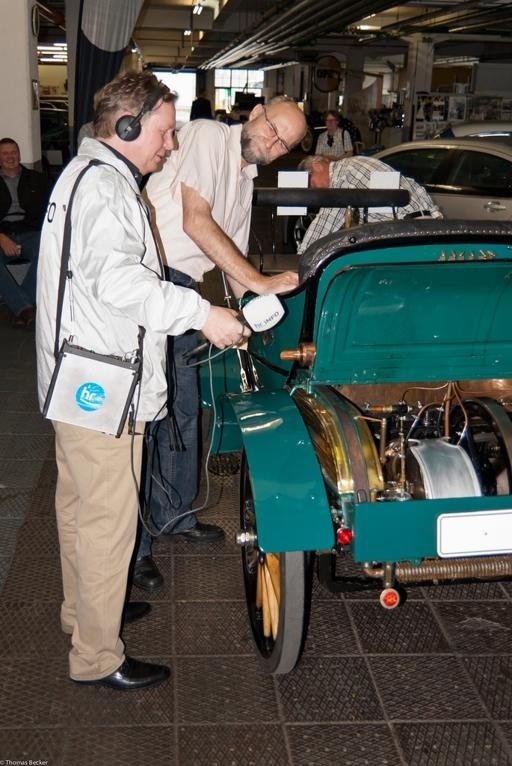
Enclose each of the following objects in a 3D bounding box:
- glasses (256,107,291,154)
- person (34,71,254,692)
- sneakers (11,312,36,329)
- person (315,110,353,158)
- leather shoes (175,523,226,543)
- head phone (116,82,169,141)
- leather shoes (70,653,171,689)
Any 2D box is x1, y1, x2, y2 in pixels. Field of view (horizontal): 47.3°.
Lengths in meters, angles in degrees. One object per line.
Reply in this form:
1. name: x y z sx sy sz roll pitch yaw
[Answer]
1. glasses: 0.041 -0.860 1.997 0.034 0.116 0.117 -35 -33 14
2. person: -0.381 0.068 1.598 0.432 1.709 0.573 -4 9 -40
3. sneakers: -2.501 -0.696 6.413 0.149 0.195 0.280 3 7 15
4. person: 1.495 -4.694 10.996 0.659 0.937 0.880 2 7 7
5. leather shoes: -0.254 0.697 2.723 0.214 0.084 0.096 5 2 -8
6. head phone: -0.269 -0.641 1.432 0.142 0.051 0.097 -44 16 -5
7. leather shoes: -0.408 0.857 1.783 0.284 0.110 0.103 0 8 -10
